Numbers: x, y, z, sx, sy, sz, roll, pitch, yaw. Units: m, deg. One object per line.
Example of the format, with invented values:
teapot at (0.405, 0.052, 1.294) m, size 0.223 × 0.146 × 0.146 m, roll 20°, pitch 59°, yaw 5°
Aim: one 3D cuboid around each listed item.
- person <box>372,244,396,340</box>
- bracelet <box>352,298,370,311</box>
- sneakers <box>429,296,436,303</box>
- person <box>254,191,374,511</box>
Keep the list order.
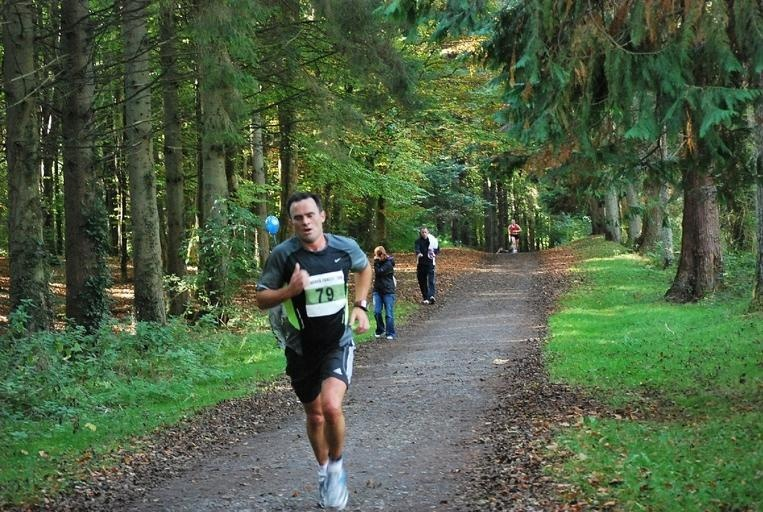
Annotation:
person at (0.057, 0.810, 18.821) m, size 0.565 × 2.233 × 1.073 m, roll -4°, pitch 9°, yaw -1°
bracelet at (-0.281, 0.645, 10.322) m, size 0.189 × 0.128 × 0.169 m, roll 14°, pitch -21°, yaw -42°
sneakers at (1.506, 1.270, 23.481) m, size 0.205 × 0.215 × 0.534 m, roll -1°, pitch -1°, yaw 4°
person at (-0.788, 1.205, 10.051) m, size 1.330 × 4.069 × 0.730 m, roll -6°, pitch 9°, yaw -9°
